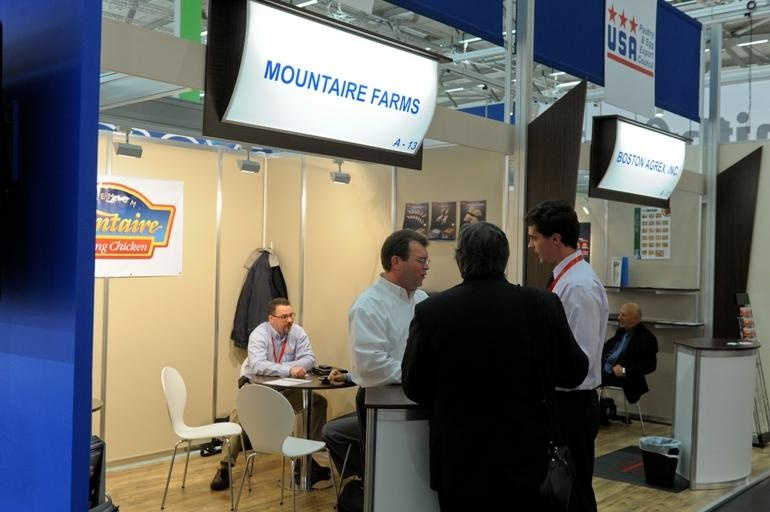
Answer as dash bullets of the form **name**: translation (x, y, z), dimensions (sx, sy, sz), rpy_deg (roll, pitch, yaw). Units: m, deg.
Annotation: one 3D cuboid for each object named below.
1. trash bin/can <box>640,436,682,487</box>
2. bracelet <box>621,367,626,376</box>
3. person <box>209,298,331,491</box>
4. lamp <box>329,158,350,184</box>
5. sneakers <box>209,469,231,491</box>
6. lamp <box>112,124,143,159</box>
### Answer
- **trash bin/can**: translation (2.405, 1.811, 5.321), dimensions (0.370, 0.460, 0.389), rpy_deg (1, 1, 10)
- **bracelet**: translation (2.697, 1.309, 6.625), dimensions (0.020, 0.090, 0.090), rpy_deg (-4, -3, 40)
- **person**: translation (-1.119, 1.256, 5.520), dimensions (1.135, 1.628, 0.739), rpy_deg (-1, 1, -33)
- **lamp**: translation (-0.464, -0.873, 6.070), dimensions (0.196, 0.254, 0.336), rpy_deg (-2, -3, -3)
- **sneakers**: translation (-1.454, 1.984, 5.174), dimensions (0.127, 0.158, 0.365), rpy_deg (0, -10, 0)
- **lamp**: translation (-2.392, -1.054, 5.400), dimensions (0.173, 0.351, 0.301), rpy_deg (-19, -18, 40)
